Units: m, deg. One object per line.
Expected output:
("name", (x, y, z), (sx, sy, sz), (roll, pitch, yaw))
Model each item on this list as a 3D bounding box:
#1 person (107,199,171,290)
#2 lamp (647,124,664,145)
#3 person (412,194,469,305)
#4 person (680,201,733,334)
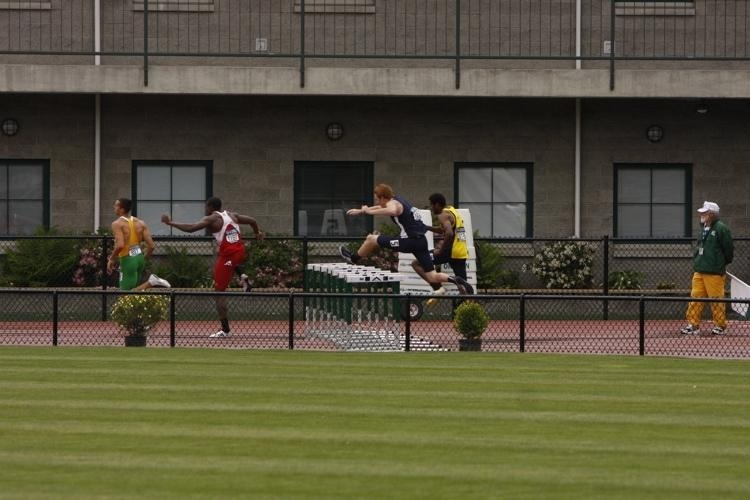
("person", (-4.598, 0.265, 33.696), (1.217, 2.474, 1.000), (-1, 1, 1))
("lamp", (6.330, -2.646, 39.235), (0.431, 0.405, 0.099), (-2, 3, 2))
("person", (1.431, -0.037, 34.235), (1.106, 2.096, 0.709), (0, 0, -1))
("person", (6.527, 0.442, 34.049), (0.577, 2.543, 1.460), (0, -1, 1))
